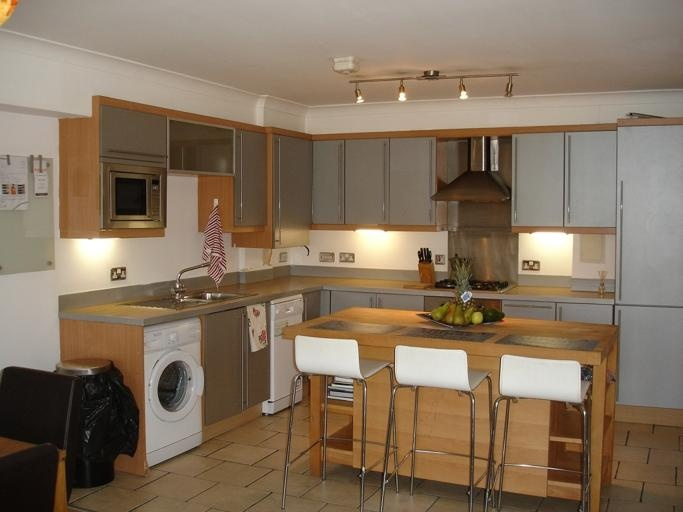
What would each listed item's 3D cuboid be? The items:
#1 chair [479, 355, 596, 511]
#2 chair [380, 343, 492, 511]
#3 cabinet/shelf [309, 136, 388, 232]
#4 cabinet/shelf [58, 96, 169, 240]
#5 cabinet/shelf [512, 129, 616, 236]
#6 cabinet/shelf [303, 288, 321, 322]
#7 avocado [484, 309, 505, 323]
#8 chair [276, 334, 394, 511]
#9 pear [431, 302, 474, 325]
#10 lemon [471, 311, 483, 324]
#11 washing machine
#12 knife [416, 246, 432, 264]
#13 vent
[{"bbox_3d":[1.217,1.136,3.381,0.642,1.144,0.607,-1,3,24],"label":"chair"},{"bbox_3d":[0.636,1.115,3.592,0.725,1.144,0.625,-2,3,15],"label":"chair"},{"bbox_3d":[0.107,-0.875,6.290,1.096,1.138,0.430,0,1,16],"label":"cabinet/shelf"},{"bbox_3d":[-1.930,-0.689,4.277,0.622,1.082,0.348,-3,3,-26],"label":"cabinet/shelf"},{"bbox_3d":[2.265,-0.778,5.705,1.150,1.071,0.382,-1,4,-5],"label":"cabinet/shelf"},{"bbox_3d":[-0.334,0.537,5.917,0.267,0.380,0.216,0,3,26],"label":"cabinet/shelf"},{"bbox_3d":[1.123,0.445,3.995,0.099,0.062,0.134,-1,-2,1],"label":"avocado"},{"bbox_3d":[-0.059,1.108,3.851,0.879,1.190,0.785,-2,2,7],"label":"chair"},{"bbox_3d":[0.853,0.424,3.990,0.164,0.123,0.261,3,-5,-43],"label":"pear"},{"bbox_3d":[0.986,0.449,3.941,0.081,0.083,0.081,1,6,4],"label":"lemon"},{"bbox_3d":[-1.528,1.044,4.932,1.188,1.658,1.101,0,2,20],"label":"washing machine"},{"bbox_3d":[0.965,-0.017,6.305,0.193,0.215,0.025,1,11,17],"label":"knife"},{"bbox_3d":[1.523,-1.101,6.063,0.871,0.979,0.935,3,0,14],"label":"vent"}]
